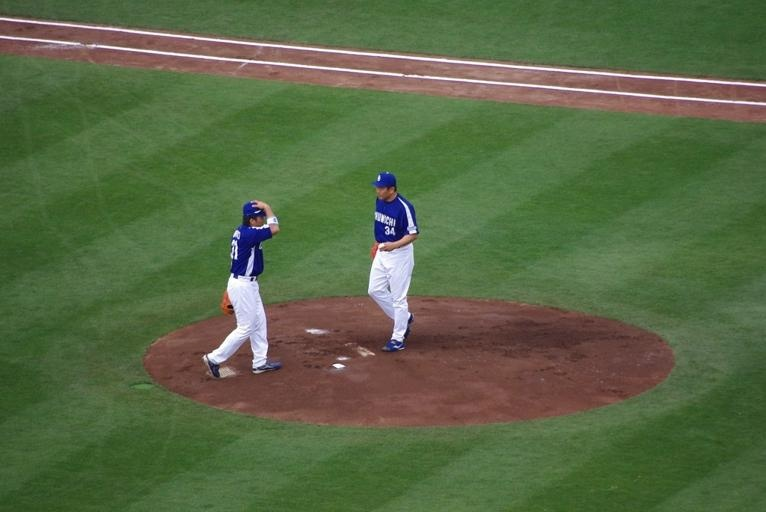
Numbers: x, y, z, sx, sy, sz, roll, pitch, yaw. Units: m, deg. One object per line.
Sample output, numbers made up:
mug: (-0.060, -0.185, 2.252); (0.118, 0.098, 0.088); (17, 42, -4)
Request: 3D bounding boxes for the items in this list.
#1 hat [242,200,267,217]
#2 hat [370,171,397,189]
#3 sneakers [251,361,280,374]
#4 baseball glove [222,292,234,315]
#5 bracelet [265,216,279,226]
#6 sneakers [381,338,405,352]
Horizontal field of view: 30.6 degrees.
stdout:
hat: (-2.018, -0.749, 22.057); (0.329, 0.146, 0.228); (-14, 19, -39)
hat: (0.026, -1.183, 22.545); (0.538, 0.213, 0.333); (3, 18, -4)
sneakers: (-1.838, 1.780, 22.126); (0.494, 0.151, 0.161); (-5, 16, -3)
baseball glove: (-2.504, 0.768, 22.186); (0.154, 0.299, 0.268); (5, 9, 20)
bracelet: (-1.728, -0.549, 22.125); (0.238, 0.120, 0.203); (-2, 6, -17)
sneakers: (0.174, 1.437, 22.428); (0.406, 0.124, 0.181); (-2, 5, -20)
